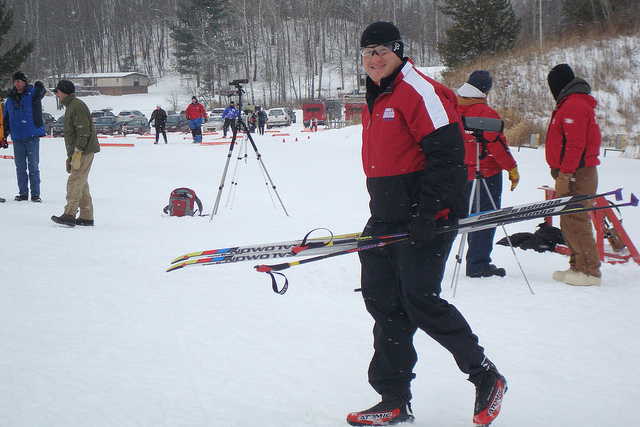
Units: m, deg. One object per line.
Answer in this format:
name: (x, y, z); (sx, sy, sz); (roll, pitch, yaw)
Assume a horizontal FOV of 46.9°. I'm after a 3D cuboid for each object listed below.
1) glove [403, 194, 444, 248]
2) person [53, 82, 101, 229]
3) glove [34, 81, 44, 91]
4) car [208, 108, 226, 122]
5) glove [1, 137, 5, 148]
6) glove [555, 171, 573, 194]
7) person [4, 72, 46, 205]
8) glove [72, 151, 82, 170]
glove: (1.147, 0.070, 8.303); (0.303, 0.556, 0.151); (6, 14, 13)
person: (-4.033, -0.961, 12.241); (0.714, 2.382, 0.825); (-2, 14, -17)
glove: (-5.130, -2.361, 13.574); (0.187, 0.169, 0.181); (3, 36, -8)
car: (-5.516, -5.162, 38.739); (1.137, 0.985, 2.286); (0, 7, -5)
glove: (-5.902, -1.345, 13.776); (0.060, 0.176, 0.162); (-3, 15, -23)
glove: (3.442, -0.452, 10.585); (0.143, 0.303, 0.219); (5, 7, -6)
person: (-5.438, -1.425, 13.716); (0.708, 2.381, 1.312); (-3, 15, -23)
glove: (-3.984, -0.872, 12.134); (0.151, 0.264, 0.108); (-2, 14, -19)
